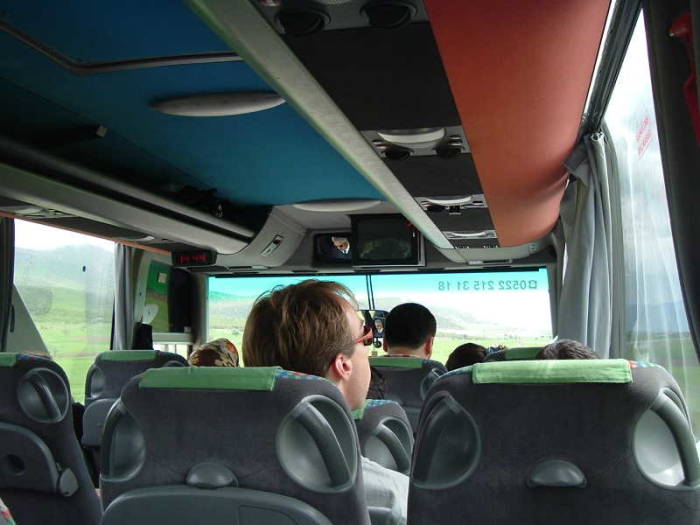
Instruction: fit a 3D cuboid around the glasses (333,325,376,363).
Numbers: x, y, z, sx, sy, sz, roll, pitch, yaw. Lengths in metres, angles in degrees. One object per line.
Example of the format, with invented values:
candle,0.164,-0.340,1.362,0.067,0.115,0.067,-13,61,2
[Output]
glasses,0.018,0.264,1.716,0.109,0.032,0.102,-31,2,-36
